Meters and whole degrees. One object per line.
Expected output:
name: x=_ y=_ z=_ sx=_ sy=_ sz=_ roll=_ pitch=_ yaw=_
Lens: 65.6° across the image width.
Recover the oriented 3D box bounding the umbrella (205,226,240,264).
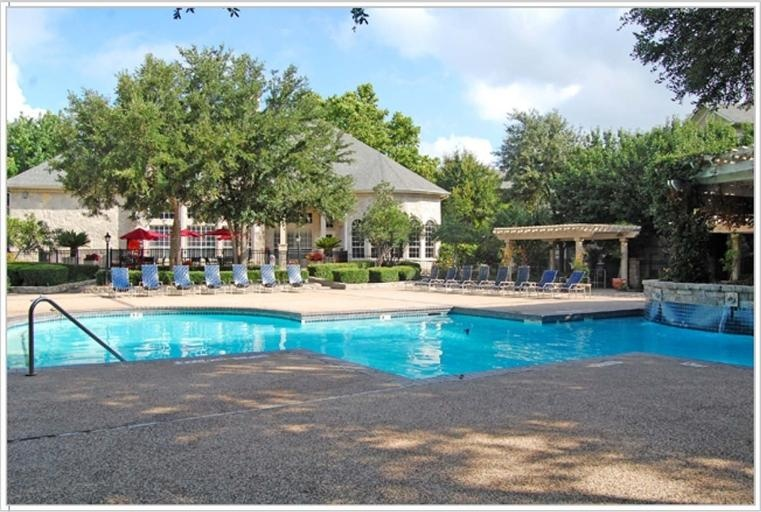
umbrella: x=-9.058 y=-0.636 z=33.790 sx=2.116 sy=2.349 sz=2.263 roll=1 pitch=3 yaw=33

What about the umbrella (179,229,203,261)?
umbrella: x=-11.175 y=-0.729 z=34.731 sx=0.990 sy=1.818 sz=5.350 roll=-2 pitch=6 yaw=-18

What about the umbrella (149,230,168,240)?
umbrella: x=-12.524 y=-1.182 z=33.432 sx=0.914 sy=0.455 sz=1.229 roll=3 pitch=-1 yaw=-1
